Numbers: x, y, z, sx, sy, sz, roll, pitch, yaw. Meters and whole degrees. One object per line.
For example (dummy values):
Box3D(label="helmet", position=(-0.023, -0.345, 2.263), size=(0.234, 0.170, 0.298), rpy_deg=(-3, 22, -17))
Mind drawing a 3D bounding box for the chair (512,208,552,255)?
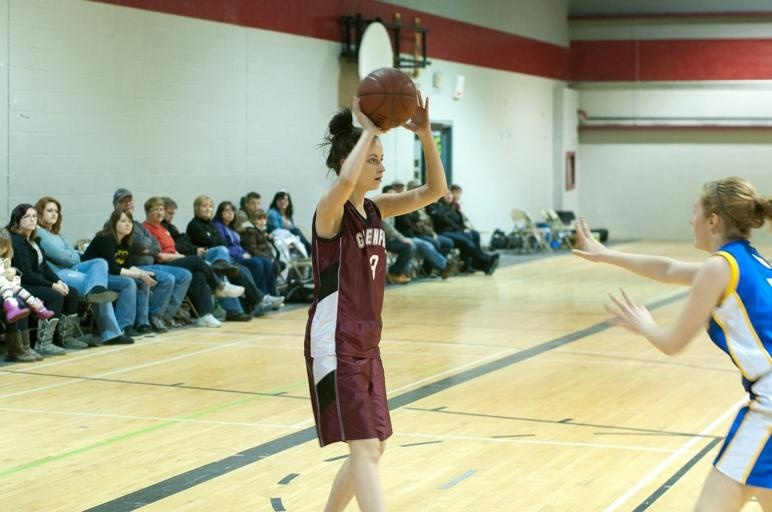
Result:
Box3D(label="chair", position=(4.227, -0.782, 18.326), size=(1.419, 1.726, 1.343), rpy_deg=(-2, 6, 15))

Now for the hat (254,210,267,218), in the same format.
Box3D(label="hat", position=(-2.086, -0.685, 9.881), size=(0.160, 0.156, 0.128), rpy_deg=(0, 2, -14))

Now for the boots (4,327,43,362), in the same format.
Box3D(label="boots", position=(-3.900, 1.002, 6.587), size=(0.573, 0.381, 0.200), rpy_deg=(1, -2, 0))

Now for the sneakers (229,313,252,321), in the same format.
Box3D(label="sneakers", position=(-2.162, 0.903, 8.854), size=(0.344, 0.136, 0.121), rpy_deg=(-3, -3, 8))

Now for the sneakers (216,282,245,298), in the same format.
Box3D(label="sneakers", position=(-2.246, 0.492, 8.654), size=(0.356, 0.155, 0.195), rpy_deg=(-4, 5, 0))

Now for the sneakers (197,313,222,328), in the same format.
Box3D(label="sneakers", position=(-2.489, 0.918, 8.477), size=(0.325, 0.143, 0.155), rpy_deg=(0, 1, 5))

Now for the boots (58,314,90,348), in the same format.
Box3D(label="boots", position=(-3.829, 0.938, 7.224), size=(0.187, 0.334, 0.382), rpy_deg=(-17, -15, 17))

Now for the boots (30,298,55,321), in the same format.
Box3D(label="boots", position=(-3.835, 0.586, 6.697), size=(0.236, 0.294, 0.236), rpy_deg=(-4, 7, -28))

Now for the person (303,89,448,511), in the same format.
Box3D(label="person", position=(-0.097, 0.311, 2.675), size=(0.532, 2.007, 0.704), rpy_deg=(1, 7, 13))

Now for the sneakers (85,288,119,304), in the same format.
Box3D(label="sneakers", position=(-3.355, 0.466, 7.184), size=(0.402, 0.144, 0.277), rpy_deg=(-2, -3, -9))

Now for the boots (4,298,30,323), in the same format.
Box3D(label="boots", position=(-3.948, 0.572, 6.413), size=(0.261, 0.237, 0.115), rpy_deg=(-12, -35, -28))
